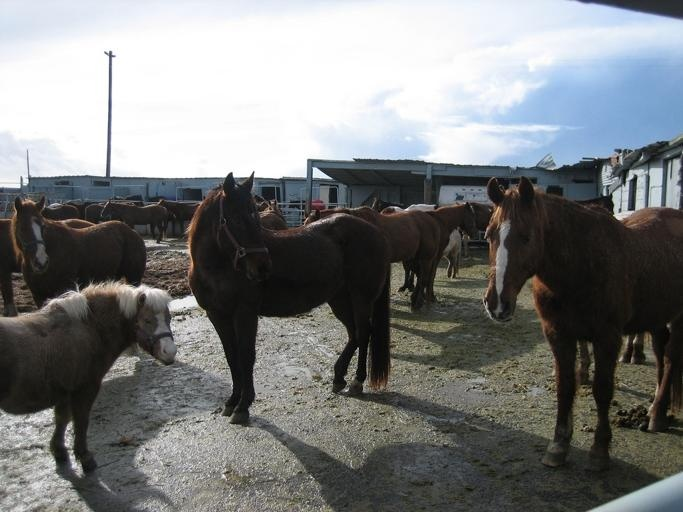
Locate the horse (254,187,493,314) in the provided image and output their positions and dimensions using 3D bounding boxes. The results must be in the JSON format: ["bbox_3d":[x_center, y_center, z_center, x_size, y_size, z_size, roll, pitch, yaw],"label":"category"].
[{"bbox_3d":[1.313,-0.217,12.094,1.370,3.723,6.342,-2,1,43],"label":"horse"}]
